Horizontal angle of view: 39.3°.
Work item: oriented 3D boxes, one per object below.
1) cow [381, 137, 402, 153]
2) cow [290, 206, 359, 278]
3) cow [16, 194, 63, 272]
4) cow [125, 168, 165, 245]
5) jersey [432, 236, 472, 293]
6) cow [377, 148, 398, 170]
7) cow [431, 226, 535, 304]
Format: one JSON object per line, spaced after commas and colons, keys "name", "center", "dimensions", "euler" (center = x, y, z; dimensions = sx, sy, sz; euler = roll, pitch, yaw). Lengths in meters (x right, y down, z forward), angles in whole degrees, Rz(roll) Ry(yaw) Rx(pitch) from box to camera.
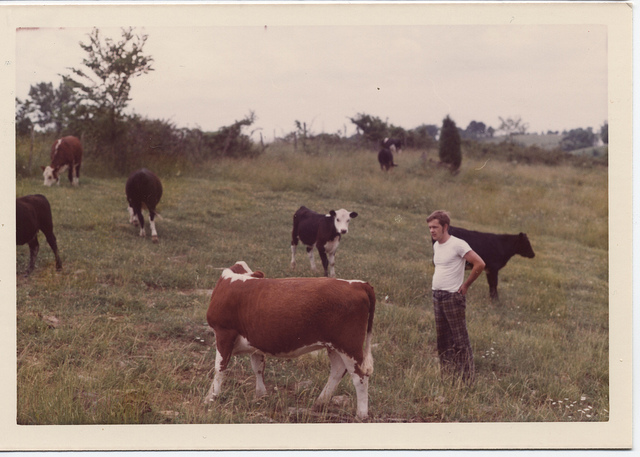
{"name": "cow", "center": [1.769, -2.102, 22.238], "dimensions": [0.346, 0.182, 0.362], "euler": [9, -7, 19]}
{"name": "cow", "center": [0.072, 0.358, 21.186], "dimensions": [0.795, 1.760, 2.626], "euler": [-1, 5, -27]}
{"name": "cow", "center": [-6.097, 0.103, 19.399], "dimensions": [0.924, 1.608, 0.857], "euler": [-3, 10, -26]}
{"name": "cow", "center": [-4.106, -0.514, 20.862], "dimensions": [0.766, 1.615, 1.048], "euler": [-1, 9, -14]}
{"name": "jersey", "center": [2.485, 0.747, 17.804], "dimensions": [0.555, 1.116, 1.024], "euler": [5, -8, -39]}
{"name": "cow", "center": [1.695, -1.756, 22.600], "dimensions": [0.529, 0.556, 0.217], "euler": [-4, 10, -30]}
{"name": "cow", "center": [3.844, 0.845, 20.807], "dimensions": [2.296, 1.450, 0.567], "euler": [7, 4, 43]}
